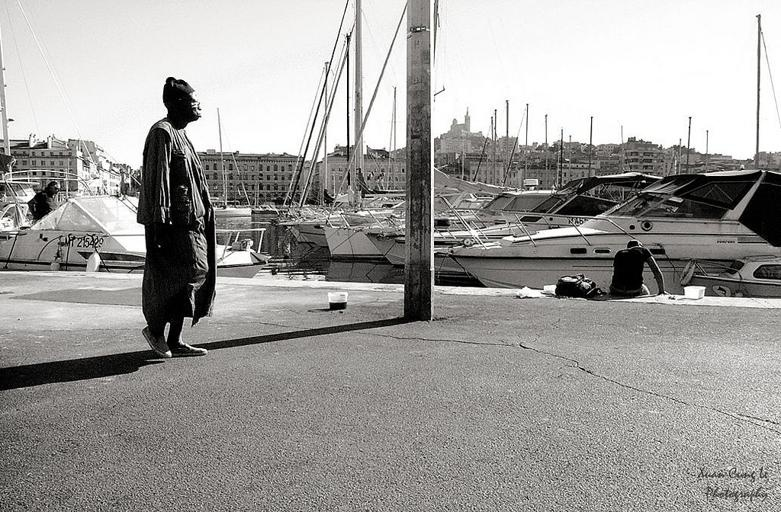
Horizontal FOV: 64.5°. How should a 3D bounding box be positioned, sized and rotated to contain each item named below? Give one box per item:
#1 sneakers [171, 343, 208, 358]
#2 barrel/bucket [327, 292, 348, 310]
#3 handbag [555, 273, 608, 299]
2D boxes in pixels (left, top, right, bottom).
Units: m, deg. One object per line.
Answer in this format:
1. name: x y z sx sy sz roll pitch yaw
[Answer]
1. sneakers: -2.009 0.936 6.181 0.330 0.120 0.136 0 5 -8
2. barrel/bucket: -0.758 0.638 8.759 0.228 0.203 0.229 0 -6 0
3. handbag: 3.187 0.545 10.484 0.631 0.279 0.479 5 4 7
